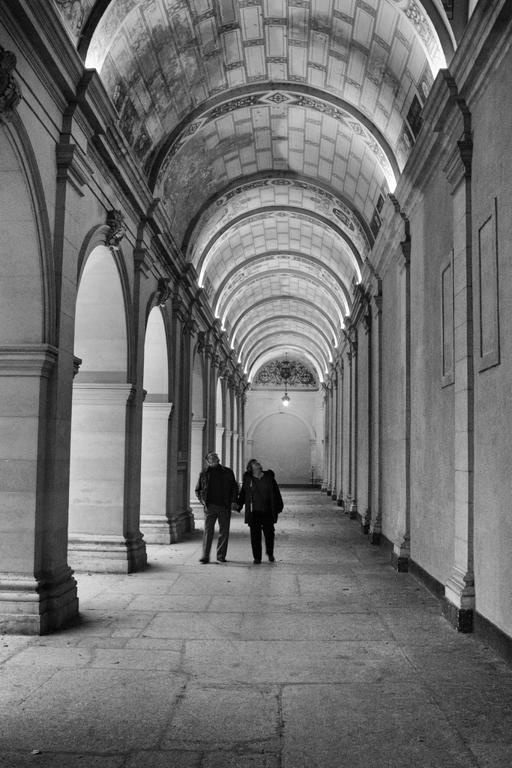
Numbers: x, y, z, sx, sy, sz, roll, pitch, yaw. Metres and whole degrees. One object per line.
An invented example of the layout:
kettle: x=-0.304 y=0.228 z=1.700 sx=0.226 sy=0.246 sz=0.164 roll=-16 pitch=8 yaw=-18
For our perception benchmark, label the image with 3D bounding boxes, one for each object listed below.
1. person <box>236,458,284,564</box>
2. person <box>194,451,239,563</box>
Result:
person: x=0.071 y=2.029 z=9.698 sx=0.694 sy=1.608 sz=1.179 roll=0 pitch=-7 yaw=2
person: x=-0.646 y=1.969 z=9.704 sx=0.667 sy=1.735 sz=1.197 roll=1 pitch=-7 yaw=-6
